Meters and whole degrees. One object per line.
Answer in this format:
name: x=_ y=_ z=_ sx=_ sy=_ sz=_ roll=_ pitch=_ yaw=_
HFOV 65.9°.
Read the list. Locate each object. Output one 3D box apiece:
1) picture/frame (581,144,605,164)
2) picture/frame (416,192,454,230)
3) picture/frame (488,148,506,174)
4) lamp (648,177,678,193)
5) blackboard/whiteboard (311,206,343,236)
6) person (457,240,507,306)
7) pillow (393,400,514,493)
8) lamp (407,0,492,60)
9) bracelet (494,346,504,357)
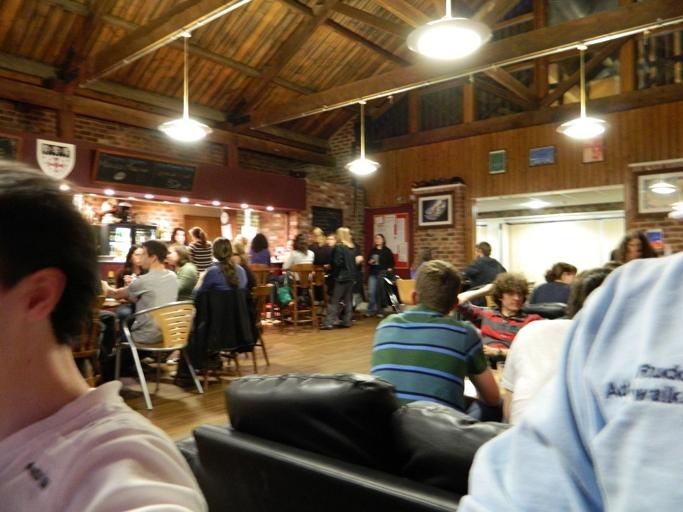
picture/frame: x=3.635 y=-1.498 z=7.682 sx=0.386 sy=0.330 sz=0.055 roll=-7 pitch=-15 yaw=39
picture/frame: x=1.647 y=-0.803 z=9.264 sx=0.895 sy=0.569 sz=0.094 roll=-5 pitch=-8 yaw=38
picture/frame: x=2.526 y=-1.549 z=8.658 sx=0.326 sy=0.400 sz=0.064 roll=-4 pitch=6 yaw=43
lamp: x=4.249 y=-0.919 z=7.043 sx=0.097 sy=0.208 sz=0.299 roll=-10 pitch=4 yaw=-28
blackboard/whiteboard: x=-0.308 y=-0.656 z=9.681 sx=0.032 sy=0.499 sz=0.897 roll=-10 pitch=-10 yaw=41
person: x=1.594 y=0.239 z=6.004 sx=0.603 sy=0.782 sz=0.499 roll=-2 pitch=13 yaw=0
pillow: x=0.226 y=0.405 z=1.137 sx=0.222 sy=0.060 sz=0.169 roll=-3 pitch=8 yaw=36
lamp: x=0.688 y=-1.397 z=3.362 sx=0.461 sy=0.116 sz=0.451 roll=-5 pitch=2 yaw=-22
bracelet: x=0.784 y=0.478 z=2.646 sx=0.037 sy=0.021 sz=0.049 roll=-30 pitch=43 yaw=-32
